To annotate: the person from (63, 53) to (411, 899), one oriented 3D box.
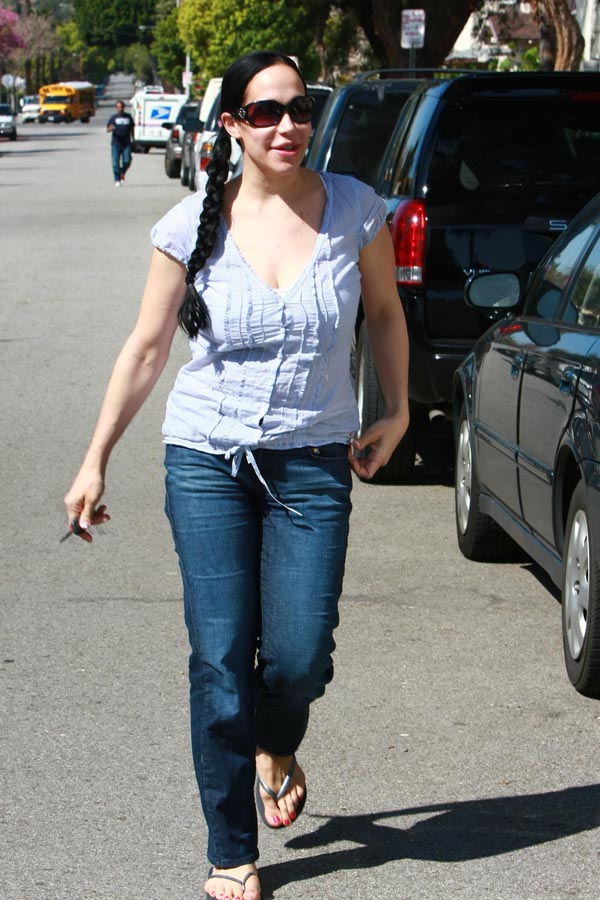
[{"bbox_3d":[-0.091,0.057,1.727,0.668,1.562,0.394,0,6,-15],"label":"person"}]
